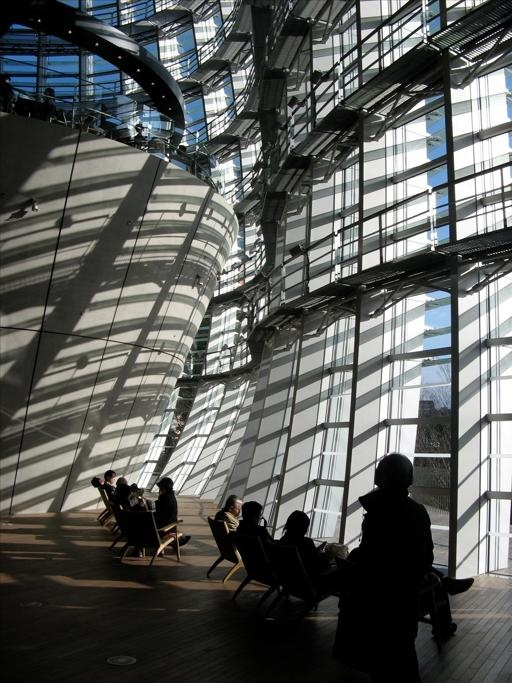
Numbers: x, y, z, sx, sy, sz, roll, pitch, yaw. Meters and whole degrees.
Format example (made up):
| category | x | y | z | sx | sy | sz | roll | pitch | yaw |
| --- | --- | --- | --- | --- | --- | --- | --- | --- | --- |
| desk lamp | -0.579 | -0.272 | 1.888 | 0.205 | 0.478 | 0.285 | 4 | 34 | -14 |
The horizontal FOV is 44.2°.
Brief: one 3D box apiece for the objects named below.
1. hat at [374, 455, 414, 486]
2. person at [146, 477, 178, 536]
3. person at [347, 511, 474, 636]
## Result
| category | x | y | z | sx | sy | sz | roll | pitch | yaw |
| --- | --- | --- | --- | --- | --- | --- | --- | --- | --- |
| hat | 0.825 | 0.765 | 3.838 | 0.195 | 0.216 | 0.234 | 3 | -4 | 6 |
| person | -1.319 | 2.365 | 9.249 | 0.350 | 0.713 | 0.490 | 3 | -12 | -9 |
| person | 1.283 | 2.291 | 5.545 | 0.864 | 0.935 | 0.794 | 27 | -42 | -36 |
